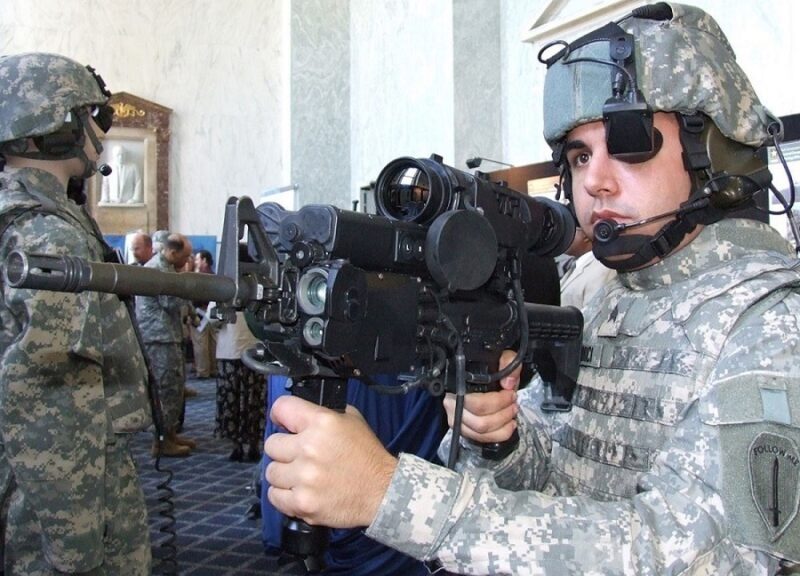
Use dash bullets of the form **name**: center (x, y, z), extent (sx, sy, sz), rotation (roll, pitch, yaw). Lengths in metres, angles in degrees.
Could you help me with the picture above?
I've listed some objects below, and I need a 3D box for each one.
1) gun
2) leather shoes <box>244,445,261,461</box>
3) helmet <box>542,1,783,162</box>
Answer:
- **gun**: center (-0.117, -0.016, 2.030), extent (1.465, 0.679, 0.251), rotation (-2, 4, -30)
- **leather shoes**: center (-1.085, 1.211, 5.553), extent (0.104, 0.139, 0.124), rotation (-1, -7, 7)
- **helmet**: center (0.751, -0.601, 2.198), extent (0.507, 0.387, 0.429), rotation (4, -8, -6)
